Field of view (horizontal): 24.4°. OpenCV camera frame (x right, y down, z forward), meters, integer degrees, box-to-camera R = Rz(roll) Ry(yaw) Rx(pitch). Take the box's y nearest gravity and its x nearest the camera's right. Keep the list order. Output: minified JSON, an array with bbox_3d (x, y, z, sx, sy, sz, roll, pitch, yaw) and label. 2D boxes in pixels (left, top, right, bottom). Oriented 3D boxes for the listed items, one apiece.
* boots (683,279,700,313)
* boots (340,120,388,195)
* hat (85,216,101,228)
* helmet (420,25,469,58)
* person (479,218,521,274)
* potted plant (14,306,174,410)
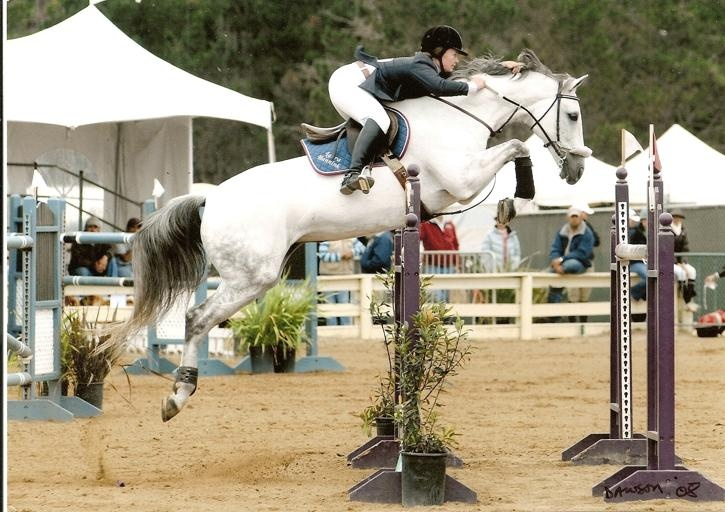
[{"bbox_3d":[5.611,0.659,28.762,0.178,0.642,0.339,-5,37,5],"label":"boots"},{"bbox_3d":[0.035,-1.253,22.055,0.469,1.126,0.281,-3,-42,16],"label":"boots"},{"bbox_3d":[-4.527,-0.563,28.051,0.190,0.148,0.193,2,2,25],"label":"hat"},{"bbox_3d":[1.078,-2.862,22.395,0.548,0.354,0.375,-5,19,-3],"label":"helmet"},{"bbox_3d":[2.426,-0.147,29.922,0.724,1.014,0.581,5,-18,-16],"label":"person"},{"bbox_3d":[-3.895,1.561,24.066,1.484,1.320,1.506,1,1,-12],"label":"potted plant"}]
